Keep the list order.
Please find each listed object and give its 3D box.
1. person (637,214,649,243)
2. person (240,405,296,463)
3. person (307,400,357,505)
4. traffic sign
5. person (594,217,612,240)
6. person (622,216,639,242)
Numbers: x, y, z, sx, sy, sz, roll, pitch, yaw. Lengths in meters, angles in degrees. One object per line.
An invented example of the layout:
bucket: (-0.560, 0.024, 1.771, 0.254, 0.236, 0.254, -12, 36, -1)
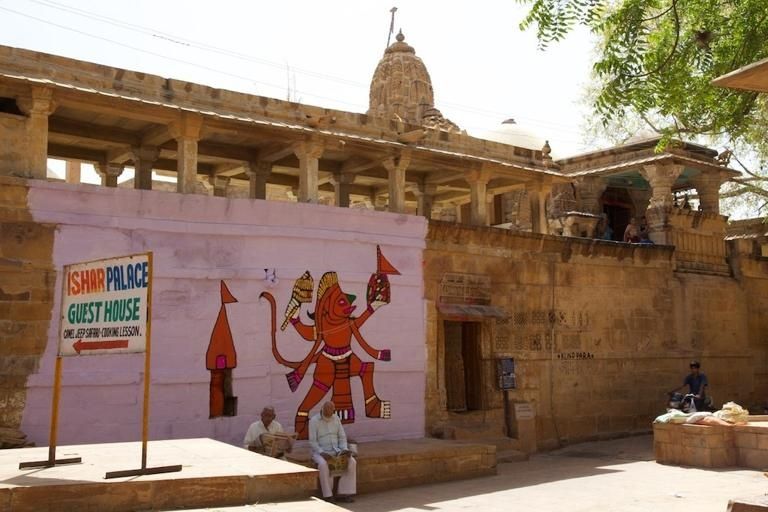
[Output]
person: (7.630, -0.767, 24.271, 0.330, 0.841, 1.497, -2, -4, 17)
person: (-2.198, 3.371, 15.694, 0.727, 0.897, 0.926, 2, 4, -45)
person: (-0.977, 3.655, 15.575, 0.837, 1.751, 0.700, 0, -4, -7)
traffic sign: (-4.219, 0.758, 12.523, 2.068, 1.419, 0.038, -4, -7, 37)
person: (7.062, -0.916, 26.664, 0.452, 0.808, 1.599, -2, -4, 24)
person: (7.460, -0.805, 24.903, 0.382, 0.750, 0.571, -2, -4, 16)
